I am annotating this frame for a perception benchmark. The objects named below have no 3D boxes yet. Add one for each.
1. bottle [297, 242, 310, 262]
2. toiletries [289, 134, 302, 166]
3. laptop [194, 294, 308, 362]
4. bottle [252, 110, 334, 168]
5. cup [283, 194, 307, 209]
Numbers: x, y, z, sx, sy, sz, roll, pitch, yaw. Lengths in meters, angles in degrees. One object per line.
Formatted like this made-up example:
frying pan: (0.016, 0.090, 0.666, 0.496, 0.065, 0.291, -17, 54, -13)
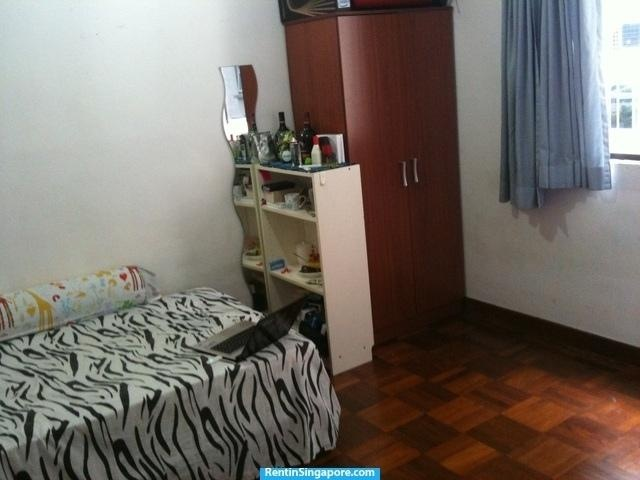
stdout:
bottle: (-0.128, 0.089, 3.707, 0.084, 0.133, 0.128, 6, 15, 26)
toiletries: (-0.176, -0.637, 3.526, 0.085, 0.178, 0.253, -7, 18, -3)
laptop: (-0.418, 0.458, 2.817, 0.567, 0.288, 0.584, 11, 11, 8)
bottle: (-0.203, -0.724, 3.602, 0.446, 0.307, 0.147, 6, 15, 35)
cup: (-0.189, -0.281, 3.579, 0.146, 0.099, 0.101, 1, 14, 7)
